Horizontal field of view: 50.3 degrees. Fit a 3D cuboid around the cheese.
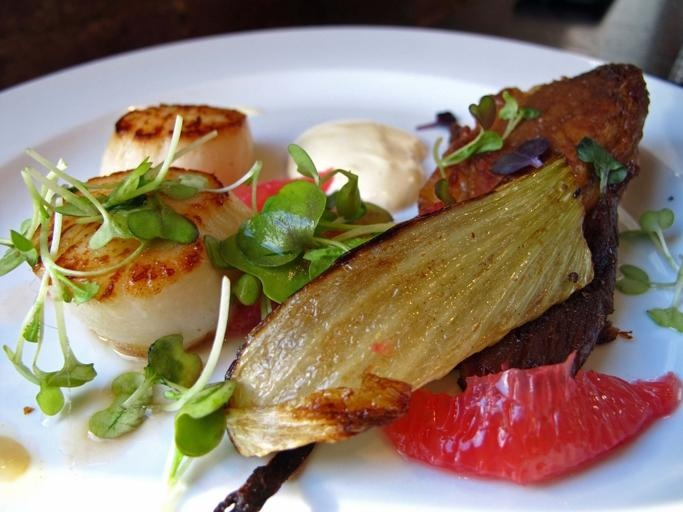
[{"bbox_3d":[0.096,-0.389,3.018,0.449,0.141,0.437,-3,39,-7],"label":"cheese"}]
